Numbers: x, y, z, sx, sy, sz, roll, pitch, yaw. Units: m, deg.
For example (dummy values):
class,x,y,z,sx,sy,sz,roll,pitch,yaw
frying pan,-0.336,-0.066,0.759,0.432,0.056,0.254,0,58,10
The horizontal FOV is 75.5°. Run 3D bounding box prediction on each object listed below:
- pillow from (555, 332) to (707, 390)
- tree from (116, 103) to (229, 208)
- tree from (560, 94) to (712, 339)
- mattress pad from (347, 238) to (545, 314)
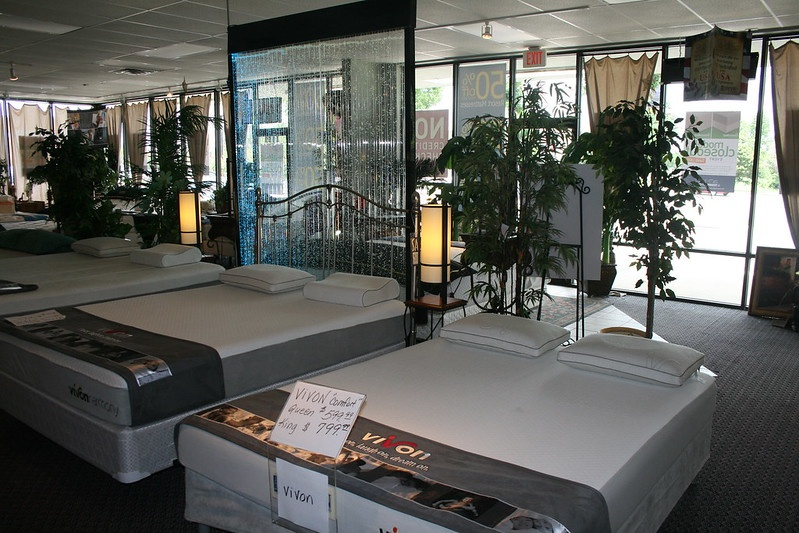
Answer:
class,x,y,z,sx,sy,sz,roll,pitch,yaw
pillow,1.529,0.564,3.365,0.519,0.129,0.401,5,11,38
tree,-3.602,-1.712,7.937,1.190,1.750,2.945,-7,10,-26
tree,2.380,-0.354,5.112,1.012,2.539,2.058,3,11,29
mattress pad,0.158,0.033,5.726,1.404,0.238,1.399,17,-7,-2
